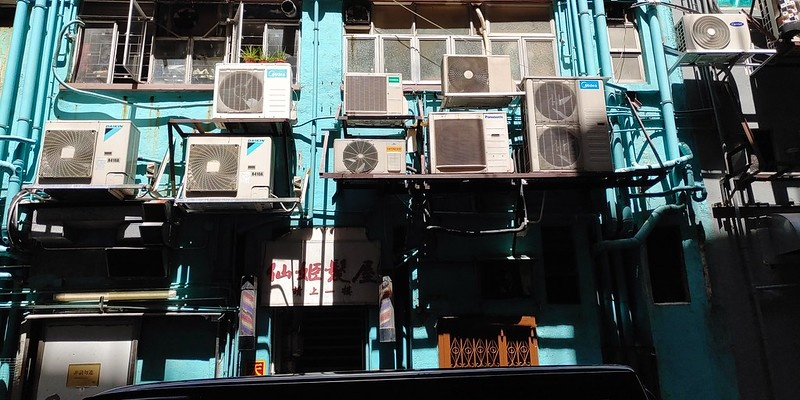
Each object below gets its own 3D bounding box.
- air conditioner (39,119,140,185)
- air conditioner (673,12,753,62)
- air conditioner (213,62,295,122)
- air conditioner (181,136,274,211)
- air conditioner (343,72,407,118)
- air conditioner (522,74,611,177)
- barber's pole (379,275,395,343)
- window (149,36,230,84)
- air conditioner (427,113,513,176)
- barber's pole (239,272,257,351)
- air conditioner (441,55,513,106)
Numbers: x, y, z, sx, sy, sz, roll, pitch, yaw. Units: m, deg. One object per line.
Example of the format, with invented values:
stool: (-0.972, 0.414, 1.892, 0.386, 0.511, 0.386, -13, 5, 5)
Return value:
air conditioner: (-8.964, -1.305, 19.262, 2.919, 1.975, 1.087, -1, -12, 12)
air conditioner: (9.598, -4.967, 20.520, 2.770, 1.627, 1.472, 2, -11, -1)
air conditioner: (-4.074, -3.198, 19.480, 2.773, 1.745, 1.100, 6, 6, 28)
air conditioner: (-4.739, -0.900, 19.263, 2.736, 1.981, 1.253, 1, -6, 20)
air conditioner: (-0.423, -3.197, 19.839, 2.309, 1.281, 1.262, 5, 10, 24)
air conditioner: (4.846, -2.114, 19.155, 3.255, 3.052, 1.223, 1, -18, -3)
barber's pole: (-0.367, 3.062, 18.574, 0.374, 1.708, 0.636, -2, 5, 1)
window: (-6.620, -4.442, 20.648, 2.499, 1.555, 0.179, -12, 31, -44)
air conditioner: (1.682, -1.627, 19.699, 3.052, 1.875, 1.644, -4, 0, -30)
barber's pole: (-4.322, 3.203, 18.647, 0.464, 1.969, 0.704, -3, 5, -6)
air conditioner: (2.383, -3.653, 19.846, 2.330, 1.287, 1.244, -1, -6, 0)
